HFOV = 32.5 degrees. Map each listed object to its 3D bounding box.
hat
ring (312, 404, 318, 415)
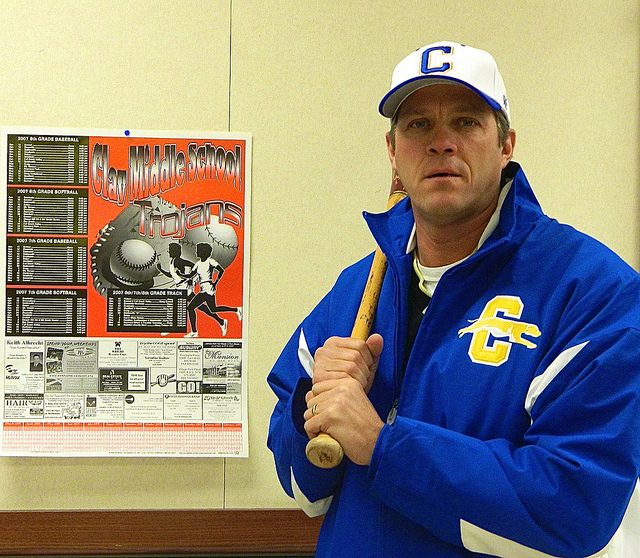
[{"bbox_3d":[0.323,-0.517,2.870,0.282,0.241,0.442,-1,-10,16],"label":"hat"},{"bbox_3d":[-0.016,0.321,2.712,0.005,0.020,0.018,6,-22,-15],"label":"ring"}]
